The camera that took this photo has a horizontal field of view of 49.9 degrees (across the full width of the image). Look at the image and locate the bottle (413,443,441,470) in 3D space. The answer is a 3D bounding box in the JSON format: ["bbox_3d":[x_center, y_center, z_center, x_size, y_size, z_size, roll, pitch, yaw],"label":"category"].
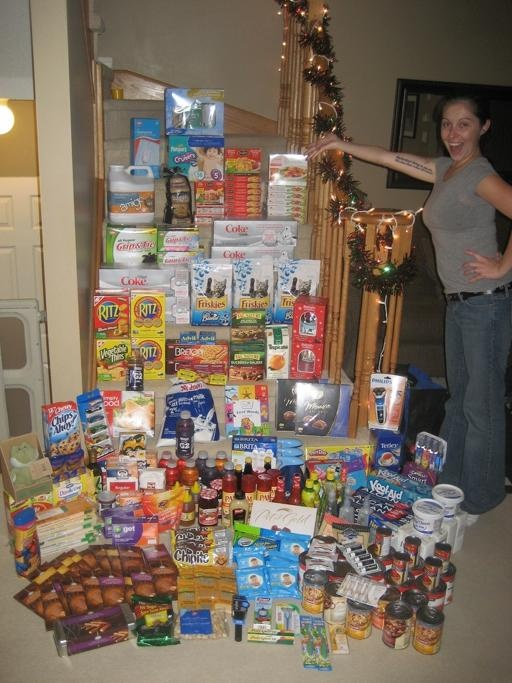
[{"bbox_3d":[0.867,0.583,2.817,0.103,0.125,0.182,5,-2,-27],"label":"bottle"}]

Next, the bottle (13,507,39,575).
[{"bbox_3d":[-0.963,0.834,2.307,0.109,0.280,0.135,-4,13,-32],"label":"bottle"}]

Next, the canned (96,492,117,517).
[{"bbox_3d":[-0.700,0.745,2.556,0.101,0.104,0.099,10,37,-6],"label":"canned"}]

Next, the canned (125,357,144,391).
[{"bbox_3d":[-0.666,0.176,2.990,0.098,0.178,0.189,0,11,-12],"label":"canned"}]

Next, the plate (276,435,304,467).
[{"bbox_3d":[0.179,0.591,2.888,0.146,0.137,0.084,2,11,-3],"label":"plate"}]

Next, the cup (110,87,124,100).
[{"bbox_3d":[-1.109,-1.970,4.374,0.081,0.097,0.098,-2,12,-23],"label":"cup"}]
